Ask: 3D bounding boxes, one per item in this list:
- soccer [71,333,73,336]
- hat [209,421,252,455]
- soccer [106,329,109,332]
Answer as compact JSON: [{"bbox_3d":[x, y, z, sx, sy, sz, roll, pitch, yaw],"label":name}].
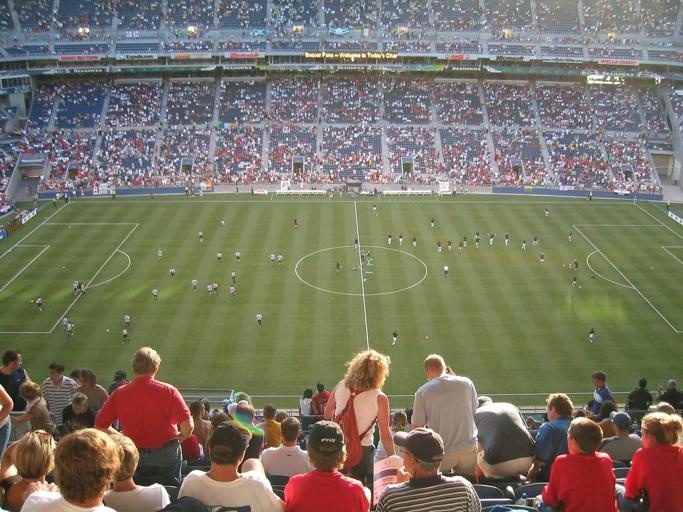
[{"bbox_3d":[-19.450,5.590,54.107,0.232,0.185,0.286,3,-4,-19],"label":"soccer"},{"bbox_3d":[-3.465,5.702,23.156,0.896,1.063,1.142,4,15,-3],"label":"hat"},{"bbox_3d":[-17.030,5.381,54.675,0.235,0.229,0.430,3,-4,-17],"label":"soccer"}]
